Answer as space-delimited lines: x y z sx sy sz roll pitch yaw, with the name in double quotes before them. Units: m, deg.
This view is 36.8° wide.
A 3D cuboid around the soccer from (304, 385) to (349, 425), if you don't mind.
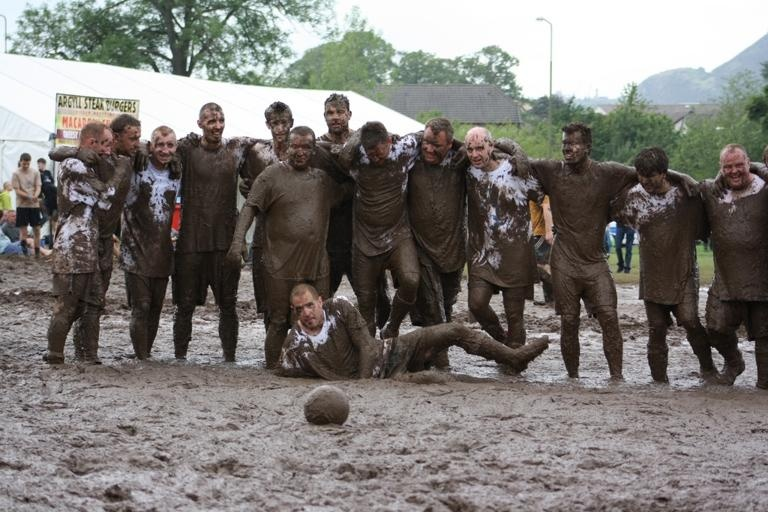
"soccer" -0.655 1.707 13.199 0.477 0.424 0.440 2 -2 -5
